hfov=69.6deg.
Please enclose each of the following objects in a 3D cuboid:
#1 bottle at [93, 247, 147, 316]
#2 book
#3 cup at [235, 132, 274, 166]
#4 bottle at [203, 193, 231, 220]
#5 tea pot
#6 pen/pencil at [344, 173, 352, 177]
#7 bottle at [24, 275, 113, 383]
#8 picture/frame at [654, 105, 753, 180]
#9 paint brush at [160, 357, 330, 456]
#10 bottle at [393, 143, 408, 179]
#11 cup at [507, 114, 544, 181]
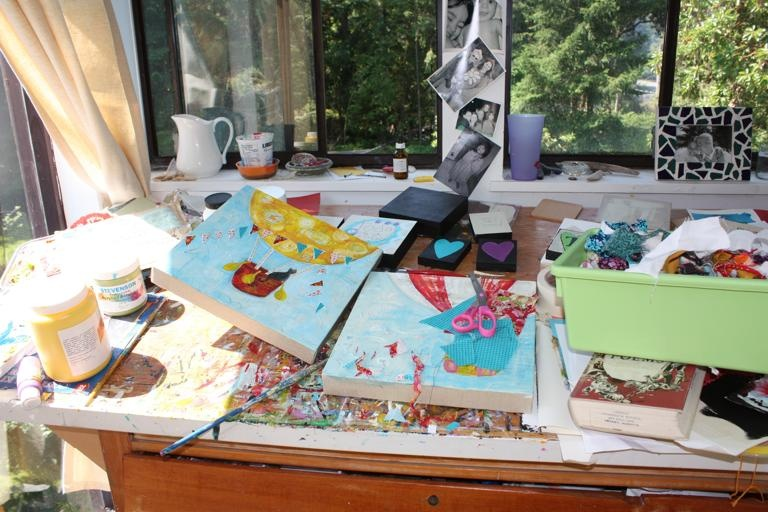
[{"bbox_3d":[-0.576,0.058,1.297,0.137,0.137,0.131,-6,29,-14],"label":"bottle"},{"bbox_3d":[0.460,0.256,1.012,0.238,0.086,0.122,5,22,11],"label":"book"},{"bbox_3d":[-0.474,-0.418,2.153,0.127,0.102,0.140,5,22,29],"label":"cup"},{"bbox_3d":[-0.425,-0.127,1.417,0.073,0.063,0.070,-12,39,-23],"label":"bottle"},{"bbox_3d":[-0.677,-0.468,2.217,0.327,0.289,0.209,-2,36,-16],"label":"tea pot"},{"bbox_3d":[-0.146,-0.329,2.233,0.032,0.006,0.006,-12,55,8],"label":"pen/pencil"},{"bbox_3d":[-0.617,0.150,1.073,0.125,0.168,0.120,2,36,-2],"label":"bottle"},{"bbox_3d":[1.163,-0.412,2.010,0.296,0.228,0.021,0,2,4],"label":"picture/frame"},{"bbox_3d":[-0.265,0.297,1.060,0.416,0.056,0.031,-24,0,-13],"label":"paint brush"},{"bbox_3d":[0.063,-0.376,2.152,0.056,0.139,0.087,1,22,1],"label":"bottle"},{"bbox_3d":[0.492,-0.383,1.967,0.119,0.247,0.106,4,23,10],"label":"cup"}]
